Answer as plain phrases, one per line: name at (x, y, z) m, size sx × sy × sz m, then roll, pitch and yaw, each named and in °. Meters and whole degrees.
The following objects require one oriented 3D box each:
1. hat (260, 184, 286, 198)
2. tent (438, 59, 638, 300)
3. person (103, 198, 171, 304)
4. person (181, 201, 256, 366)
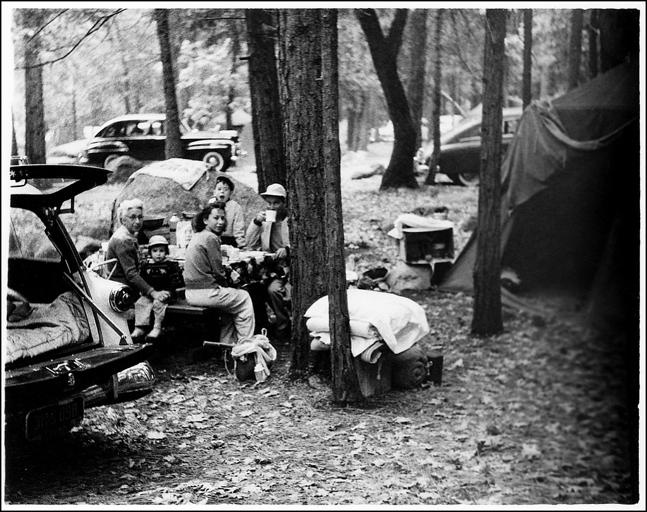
hat at (-0.683, -0.882, 11.590) m, size 0.265 × 0.141 × 0.327 m, roll 1°, pitch 6°, yaw 5°
tent at (2.769, -0.980, 11.077) m, size 2.366 × 1.179 × 2.480 m, roll 8°, pitch 33°, yaw 18°
person at (-2.236, -0.076, 10.451) m, size 0.784 × 1.142 × 0.808 m, roll -3°, pitch 17°, yaw -26°
person at (-1.298, 0.236, 10.288) m, size 0.817 × 1.762 × 0.675 m, roll -5°, pitch 12°, yaw -9°
